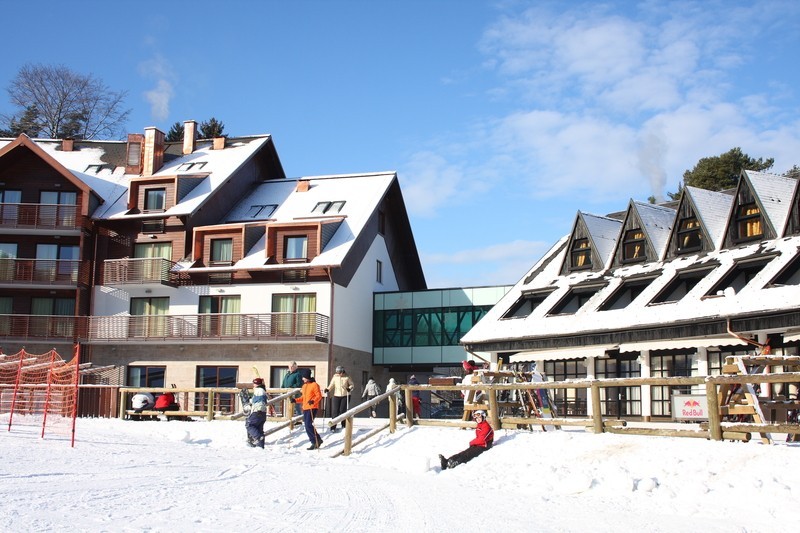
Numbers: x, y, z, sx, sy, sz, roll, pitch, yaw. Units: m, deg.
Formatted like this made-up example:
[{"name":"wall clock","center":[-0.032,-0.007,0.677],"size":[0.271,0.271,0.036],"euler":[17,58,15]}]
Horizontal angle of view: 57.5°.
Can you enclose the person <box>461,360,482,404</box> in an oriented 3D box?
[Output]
[{"name":"person","center":[2.583,3.908,24.059],"size":[0.778,1.068,0.851],"euler":[0,25,12]}]

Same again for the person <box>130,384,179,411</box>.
[{"name":"person","center":[-10.349,5.750,31.100],"size":[1.859,0.699,1.412],"euler":[-3,0,-38]}]

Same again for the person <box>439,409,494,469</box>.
[{"name":"person","center":[1.865,4.800,20.206],"size":[1.845,0.940,0.770],"euler":[-23,1,-23]}]

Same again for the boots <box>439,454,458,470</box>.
[{"name":"boots","center":[1.352,5.279,19.676],"size":[0.508,0.391,0.348],"euler":[-1,-2,5]}]

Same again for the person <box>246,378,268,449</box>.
[{"name":"person","center":[-4.817,4.896,24.448],"size":[0.665,2.317,1.241],"euler":[-1,-2,-12]}]
